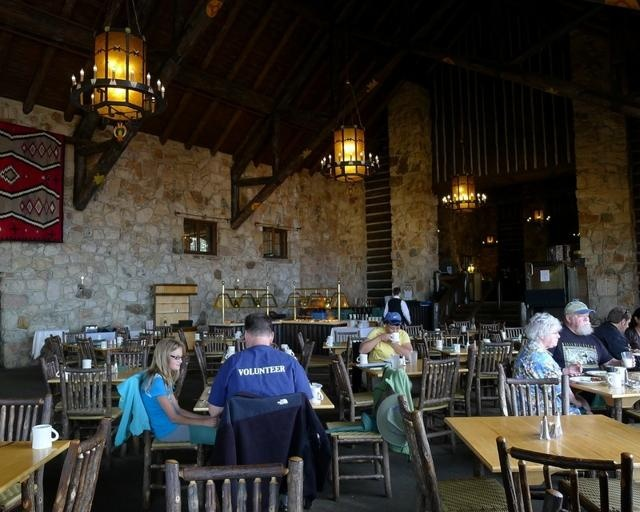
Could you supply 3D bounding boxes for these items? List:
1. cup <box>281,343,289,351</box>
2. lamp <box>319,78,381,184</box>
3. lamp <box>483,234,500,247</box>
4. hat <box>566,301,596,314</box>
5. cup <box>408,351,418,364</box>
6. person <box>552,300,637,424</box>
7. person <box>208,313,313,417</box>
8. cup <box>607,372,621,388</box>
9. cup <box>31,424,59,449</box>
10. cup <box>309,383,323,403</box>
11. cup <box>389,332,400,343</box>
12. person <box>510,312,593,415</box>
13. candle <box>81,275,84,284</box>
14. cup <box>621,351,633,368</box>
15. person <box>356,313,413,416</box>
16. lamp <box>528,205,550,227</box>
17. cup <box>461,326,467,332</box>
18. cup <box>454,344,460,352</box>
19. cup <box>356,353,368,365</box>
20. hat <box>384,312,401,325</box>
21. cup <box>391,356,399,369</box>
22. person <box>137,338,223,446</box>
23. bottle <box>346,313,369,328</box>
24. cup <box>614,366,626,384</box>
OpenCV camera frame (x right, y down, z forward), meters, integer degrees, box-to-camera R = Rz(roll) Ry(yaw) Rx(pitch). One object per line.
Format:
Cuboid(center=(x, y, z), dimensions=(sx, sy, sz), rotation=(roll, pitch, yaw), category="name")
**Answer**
Cuboid(center=(-0.416, 1.059, 6.823), dimensions=(0.109, 0.118, 0.068), rotation=(0, -2, -17), category="cup")
Cuboid(center=(0.494, -2.282, 10.214), dimensions=(0.849, 1.761, 0.896), rotation=(0, -4, 19), category="lamp")
Cuboid(center=(5.700, -0.552, 19.555), dimensions=(0.343, 0.401, 0.388), rotation=(0, -1, 14), category="lamp")
Cuboid(center=(2.584, 0.532, 5.775), dimensions=(0.171, 0.143, 0.245), rotation=(6, -9, -35), category="hat")
Cuboid(center=(1.052, 1.136, 6.520), dimensions=(0.104, 0.123, 0.107), rotation=(0, 2, 0), category="cup")
Cuboid(center=(2.596, 0.998, 5.771), dimensions=(0.634, 1.075, 0.564), rotation=(2, -7, 9), category="person")
Cuboid(center=(-0.476, 0.839, 4.566), dimensions=(0.800, 0.791, 0.407), rotation=(-1, -6, -13), category="person")
Cuboid(center=(2.522, 1.065, 5.027), dimensions=(0.106, 0.120, 0.089), rotation=(-6, 2, -15), category="cup")
Cuboid(center=(-1.870, 1.240, 3.984), dimensions=(0.189, 0.156, 0.121), rotation=(11, -16, -40), category="cup")
Cuboid(center=(-0.023, 1.229, 5.244), dimensions=(0.099, 0.173, 0.159), rotation=(0, 3, -31), category="cup")
Cuboid(center=(0.848, 0.925, 6.631), dimensions=(0.121, 0.118, 0.083), rotation=(-4, -2, 9), category="cup")
Cuboid(center=(2.000, 0.911, 4.987), dimensions=(0.613, 0.846, 0.581), rotation=(1, 4, -16), category="person")
Cuboid(center=(-4.821, 0.477, 11.811), dimensions=(0.064, 0.166, 0.008), rotation=(3, -7, -39), category="candle")
Cuboid(center=(2.885, 0.969, 5.474), dimensions=(0.137, 0.143, 0.096), rotation=(3, -9, -10), category="cup")
Cuboid(center=(0.766, 1.258, 6.639), dimensions=(0.581, 1.169, 0.728), rotation=(1, -1, 28), category="person")
Cuboid(center=(6.383, -1.193, 17.026), dimensions=(0.801, 0.500, 0.852), rotation=(1, 14, 17), category="lamp")
Cuboid(center=(2.378, 1.188, 9.561), dimensions=(0.081, 0.100, 0.100), rotation=(2, -8, -11), category="cup")
Cuboid(center=(1.795, 1.198, 7.605), dimensions=(0.090, 0.111, 0.096), rotation=(-1, 0, 0), category="cup")
Cuboid(center=(0.463, 1.140, 6.475), dimensions=(0.121, 0.095, 0.083), rotation=(-7, -7, 18), category="cup")
Cuboid(center=(0.811, 0.701, 6.596), dimensions=(0.117, 0.102, 0.188), rotation=(3, -5, -2), category="hat")
Cuboid(center=(0.739, 1.042, 5.736), dimensions=(0.100, 0.127, 0.106), rotation=(-1, 0, 0), category="cup")
Cuboid(center=(-1.195, 1.125, 4.865), dimensions=(0.732, 0.884, 0.324), rotation=(-8, -8, 42), category="person")
Cuboid(center=(0.716, 1.225, 10.802), dimensions=(0.309, 0.206, 0.430), rotation=(-2, -2, 36), category="bottle")
Cuboid(center=(2.575, 1.025, 5.010), dimensions=(0.085, 0.149, 0.118), rotation=(-4, 4, -37), category="cup")
